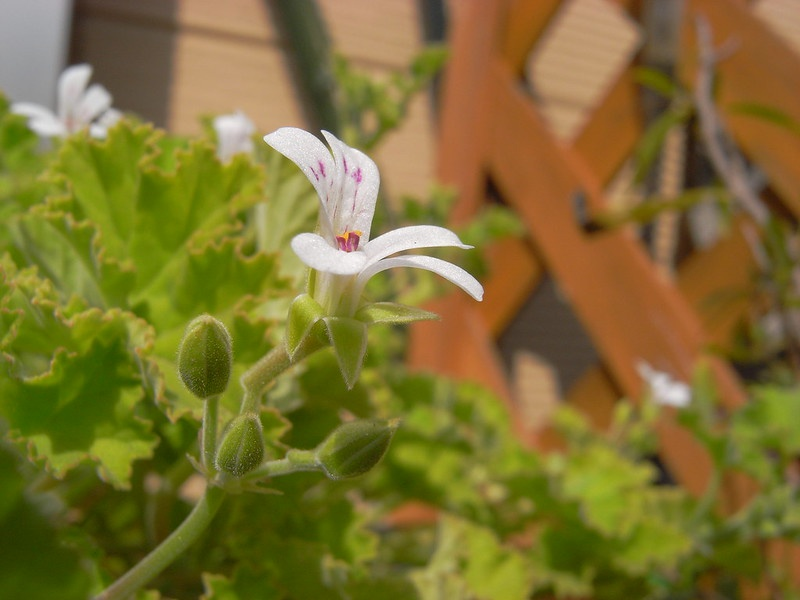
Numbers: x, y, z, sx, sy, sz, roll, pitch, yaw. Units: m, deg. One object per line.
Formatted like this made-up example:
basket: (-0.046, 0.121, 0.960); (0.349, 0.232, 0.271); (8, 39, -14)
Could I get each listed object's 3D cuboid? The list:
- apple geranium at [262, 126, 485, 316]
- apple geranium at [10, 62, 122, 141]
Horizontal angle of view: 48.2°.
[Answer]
apple geranium: (-0.035, -0.059, 0.803); (0.153, 0.150, 0.203); (-9, 30, -35)
apple geranium: (-0.342, -0.203, 0.930); (0.112, 0.079, 0.092); (-8, 29, -33)
